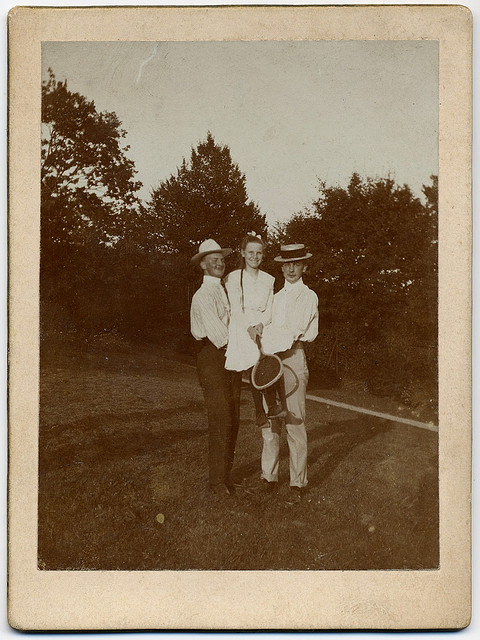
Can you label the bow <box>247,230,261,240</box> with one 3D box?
[{"bbox_3d":[0.095,-0.569,5.063,0.089,0.051,0.017,4,4,7],"label":"bow"}]
